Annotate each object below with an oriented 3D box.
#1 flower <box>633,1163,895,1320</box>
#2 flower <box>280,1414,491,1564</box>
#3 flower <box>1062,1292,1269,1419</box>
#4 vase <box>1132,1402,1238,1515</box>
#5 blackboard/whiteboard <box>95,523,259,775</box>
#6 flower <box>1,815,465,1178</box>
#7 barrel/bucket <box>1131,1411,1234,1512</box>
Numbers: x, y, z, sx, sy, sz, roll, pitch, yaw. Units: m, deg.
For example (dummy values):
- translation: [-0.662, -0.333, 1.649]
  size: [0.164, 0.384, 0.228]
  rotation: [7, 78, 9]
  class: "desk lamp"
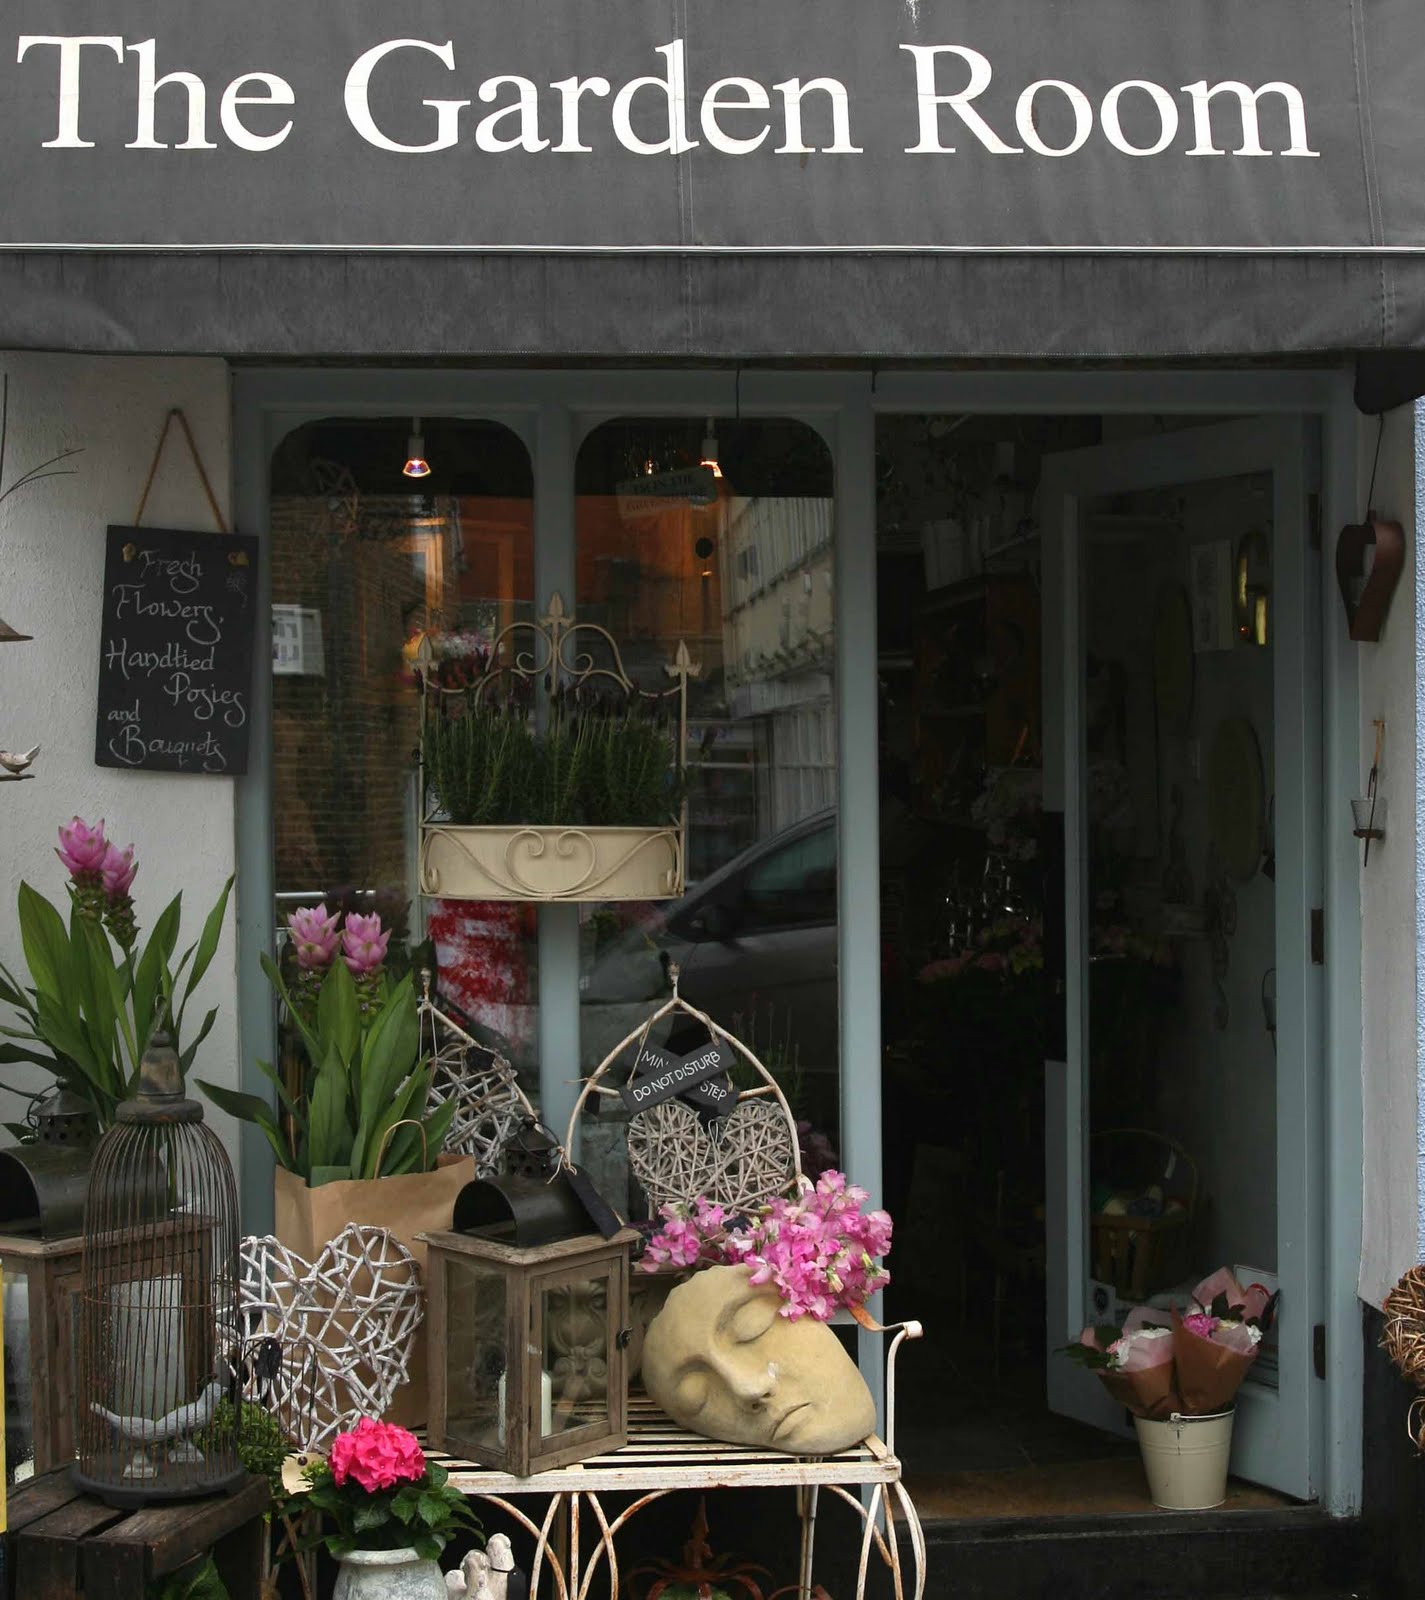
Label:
- translation: [0.114, 0.812, 4.105]
  size: [0.310, 0.222, 0.336]
  rotation: [7, -7, 7]
  class: "flower"
- translation: [-0.547, 1.149, 3.708]
  size: [0.246, 0.233, 0.285]
  rotation: [-8, -7, 34]
  class: "flower"
- translation: [0.992, 1.197, 4.785]
  size: [0.252, 0.199, 0.283]
  rotation: [-22, -4, 41]
  class: "flower"
- translation: [0.968, 1.440, 4.798]
  size: [0.188, 0.212, 0.200]
  rotation: [10, -3, 36]
  class: "vase"
- translation: [-1.067, -0.278, 4.466]
  size: [0.299, 0.601, 0.059]
  rotation: [7, -32, -21]
  class: "blackboard/whiteboard"
- translation: [-0.994, 0.339, 4.258]
  size: [0.742, 0.530, 0.552]
  rotation: [3, 1, -11]
  class: "flower"
- translation: [1.010, 1.375, 4.797]
  size: [0.210, 0.243, 0.240]
  rotation: [-2, 12, 2]
  class: "barrel/bucket"
